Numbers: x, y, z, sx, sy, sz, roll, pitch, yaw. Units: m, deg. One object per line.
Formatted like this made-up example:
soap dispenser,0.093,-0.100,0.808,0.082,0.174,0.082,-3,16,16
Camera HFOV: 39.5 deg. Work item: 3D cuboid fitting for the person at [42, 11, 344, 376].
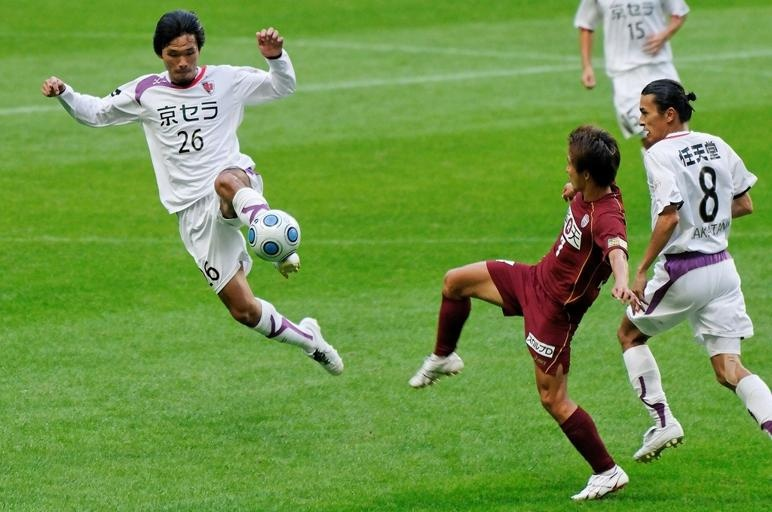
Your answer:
person,-1.291,-0.364,7.907,1.550,2.759,0.966,-10,19,-7

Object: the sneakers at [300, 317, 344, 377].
sneakers,-0.496,0.725,8.348,0.161,0.423,0.182,-43,5,37

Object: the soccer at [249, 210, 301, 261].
soccer,-0.793,-0.143,7.655,0.417,0.374,0.396,-1,1,-29

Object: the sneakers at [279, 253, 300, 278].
sneakers,-0.702,0.073,7.719,0.209,0.169,0.156,-4,-11,23
